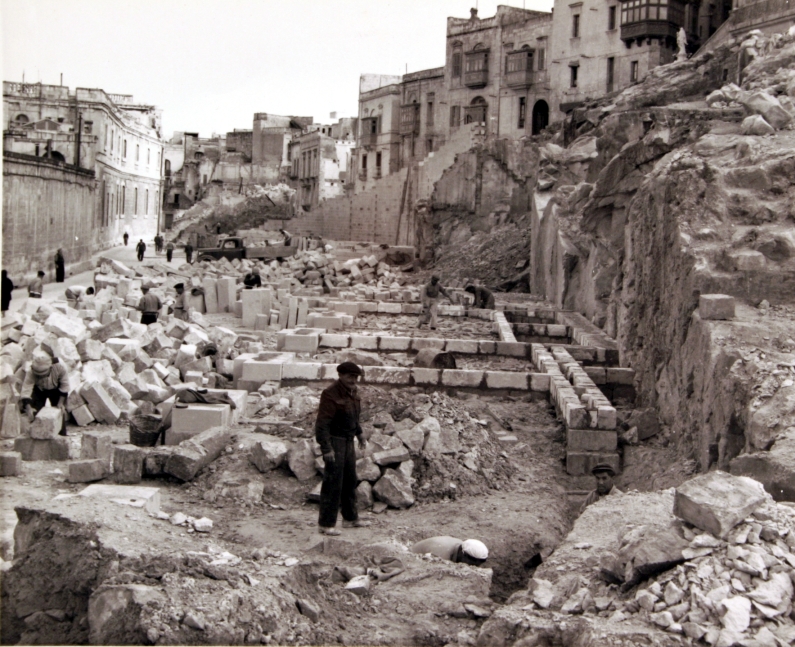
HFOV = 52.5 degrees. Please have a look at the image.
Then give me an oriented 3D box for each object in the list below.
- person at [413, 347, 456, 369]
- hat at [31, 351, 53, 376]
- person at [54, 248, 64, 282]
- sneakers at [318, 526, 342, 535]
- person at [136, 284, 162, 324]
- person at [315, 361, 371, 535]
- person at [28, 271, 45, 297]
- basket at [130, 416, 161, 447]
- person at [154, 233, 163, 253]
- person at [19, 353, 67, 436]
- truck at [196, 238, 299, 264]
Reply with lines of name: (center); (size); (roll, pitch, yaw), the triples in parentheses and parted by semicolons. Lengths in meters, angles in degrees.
person: (0.603, 0.569, 13.017); (0.647, 0.277, 0.764); (1, 5, 0)
hat: (-4.710, 0.529, 10.667); (0.240, 0.287, 0.263); (-2, 5, -26)
person: (-10.520, -1.804, 25.051); (0.267, 1.014, 1.088); (-1, 5, -24)
sneakers: (-0.662, 2.027, 7.899); (0.145, 0.075, 0.085); (-2, 2, 17)
person: (-5.295, -0.197, 17.232); (0.492, 1.318, 0.355); (-1, 28, -18)
person: (-0.570, 1.226, 7.906); (0.436, 1.694, 0.601); (0, 4, -2)
person: (-9.437, -1.038, 21.012); (0.371, 0.656, 1.549); (-1, 5, -25)
basket: (-3.101, 1.332, 9.989); (0.434, 0.306, 0.461); (5, 6, 40)
person: (-11.957, -3.979, 39.797); (0.520, 0.786, 1.328); (0, -4, -10)
person: (-4.724, 0.884, 10.837); (0.563, 1.023, 0.600); (-1, 5, -20)
truck: (-6.405, -3.024, 34.126); (3.744, 1.629, 1.792); (-1, 0, -15)
